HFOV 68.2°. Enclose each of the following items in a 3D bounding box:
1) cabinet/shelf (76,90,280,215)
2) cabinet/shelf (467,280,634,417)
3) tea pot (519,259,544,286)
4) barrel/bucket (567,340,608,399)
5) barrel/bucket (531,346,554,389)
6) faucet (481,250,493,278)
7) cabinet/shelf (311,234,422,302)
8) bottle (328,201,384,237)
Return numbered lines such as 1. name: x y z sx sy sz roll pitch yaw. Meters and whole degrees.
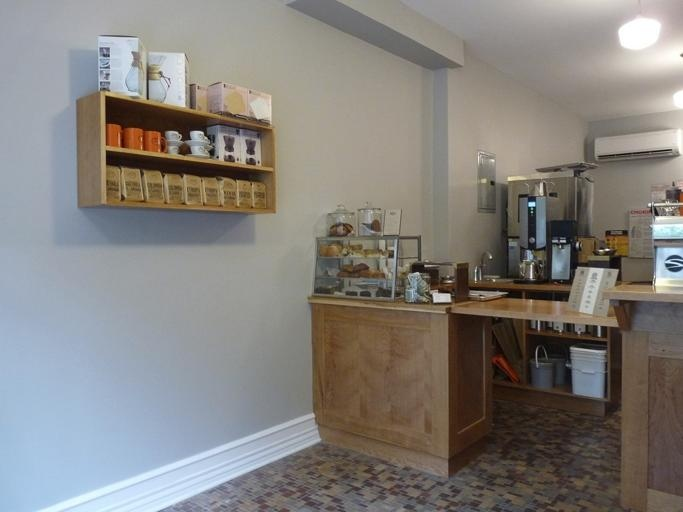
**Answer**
1. cabinet/shelf: -1.003 -0.599 3.281 0.309 0.625 1.258 7 8 39
2. cabinet/shelf: 1.716 0.798 4.097 1.201 1.010 0.426 -1 -4 34
3. tea pot: 1.936 0.165 5.117 0.175 0.268 0.299 1 0 -44
4. barrel/bucket: 2.320 1.027 4.663 0.374 0.513 0.433 1 -2 42
5. barrel/bucket: 1.920 1.043 4.788 0.194 0.345 0.342 1 6 22
6. faucet: 1.721 0.099 5.931 0.127 0.314 0.781 0 6 17
7. cabinet/shelf: 0.153 0.081 3.851 0.861 0.587 0.475 1 1 36
8. bottle: 0.125 -0.290 4.070 0.418 0.244 0.228 0 0 12
